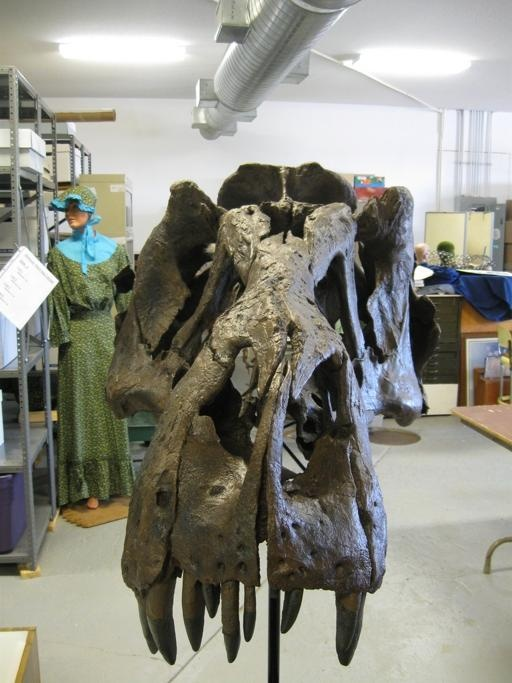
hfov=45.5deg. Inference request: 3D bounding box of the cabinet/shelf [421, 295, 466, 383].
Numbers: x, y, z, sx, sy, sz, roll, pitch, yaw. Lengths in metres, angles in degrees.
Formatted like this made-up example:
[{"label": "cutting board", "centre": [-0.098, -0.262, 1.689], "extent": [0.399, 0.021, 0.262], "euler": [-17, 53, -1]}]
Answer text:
[{"label": "cabinet/shelf", "centre": [1.798, -0.014, 5.901], "extent": [0.508, 0.860, 0.160], "euler": [-4, 8, -29]}]
